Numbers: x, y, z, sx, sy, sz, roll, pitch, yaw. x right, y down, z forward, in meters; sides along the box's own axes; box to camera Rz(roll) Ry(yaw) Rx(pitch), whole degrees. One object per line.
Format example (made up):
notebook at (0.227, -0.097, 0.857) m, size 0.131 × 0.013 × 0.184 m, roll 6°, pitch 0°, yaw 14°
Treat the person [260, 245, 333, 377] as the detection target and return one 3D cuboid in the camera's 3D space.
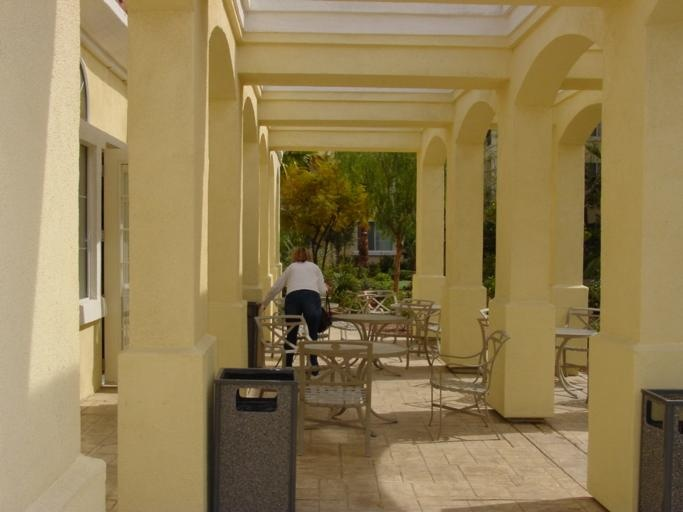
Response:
person at (-0.544, 0.686, 8.425) m, size 0.749 × 1.561 × 1.356 m, roll 2°, pitch 3°, yaw -2°
